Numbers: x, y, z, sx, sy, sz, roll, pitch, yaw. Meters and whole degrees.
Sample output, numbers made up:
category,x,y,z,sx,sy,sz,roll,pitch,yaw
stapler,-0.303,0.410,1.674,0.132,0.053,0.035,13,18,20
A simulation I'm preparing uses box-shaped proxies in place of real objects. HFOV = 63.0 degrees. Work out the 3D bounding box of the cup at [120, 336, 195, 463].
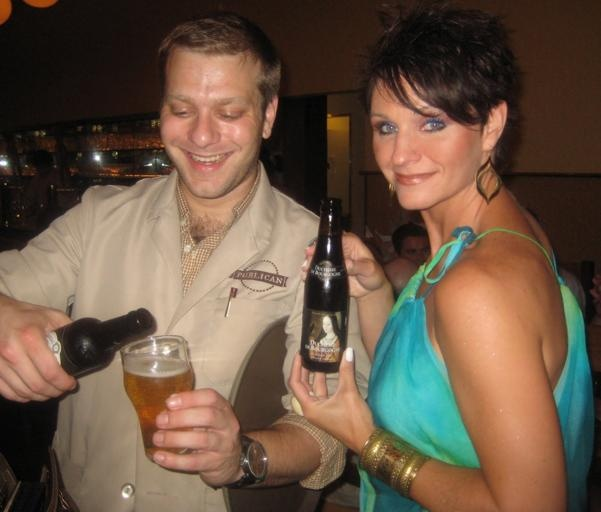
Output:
category,x,y,z,sx,sy,sz,roll,pitch,yaw
cup,-0.369,0.345,1.273,0.157,0.265,0.155,-2,10,0

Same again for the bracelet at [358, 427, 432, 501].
category,x,y,z,sx,sy,sz,roll,pitch,yaw
bracelet,0.244,0.549,1.318,0.172,0.153,0.155,19,-14,30
